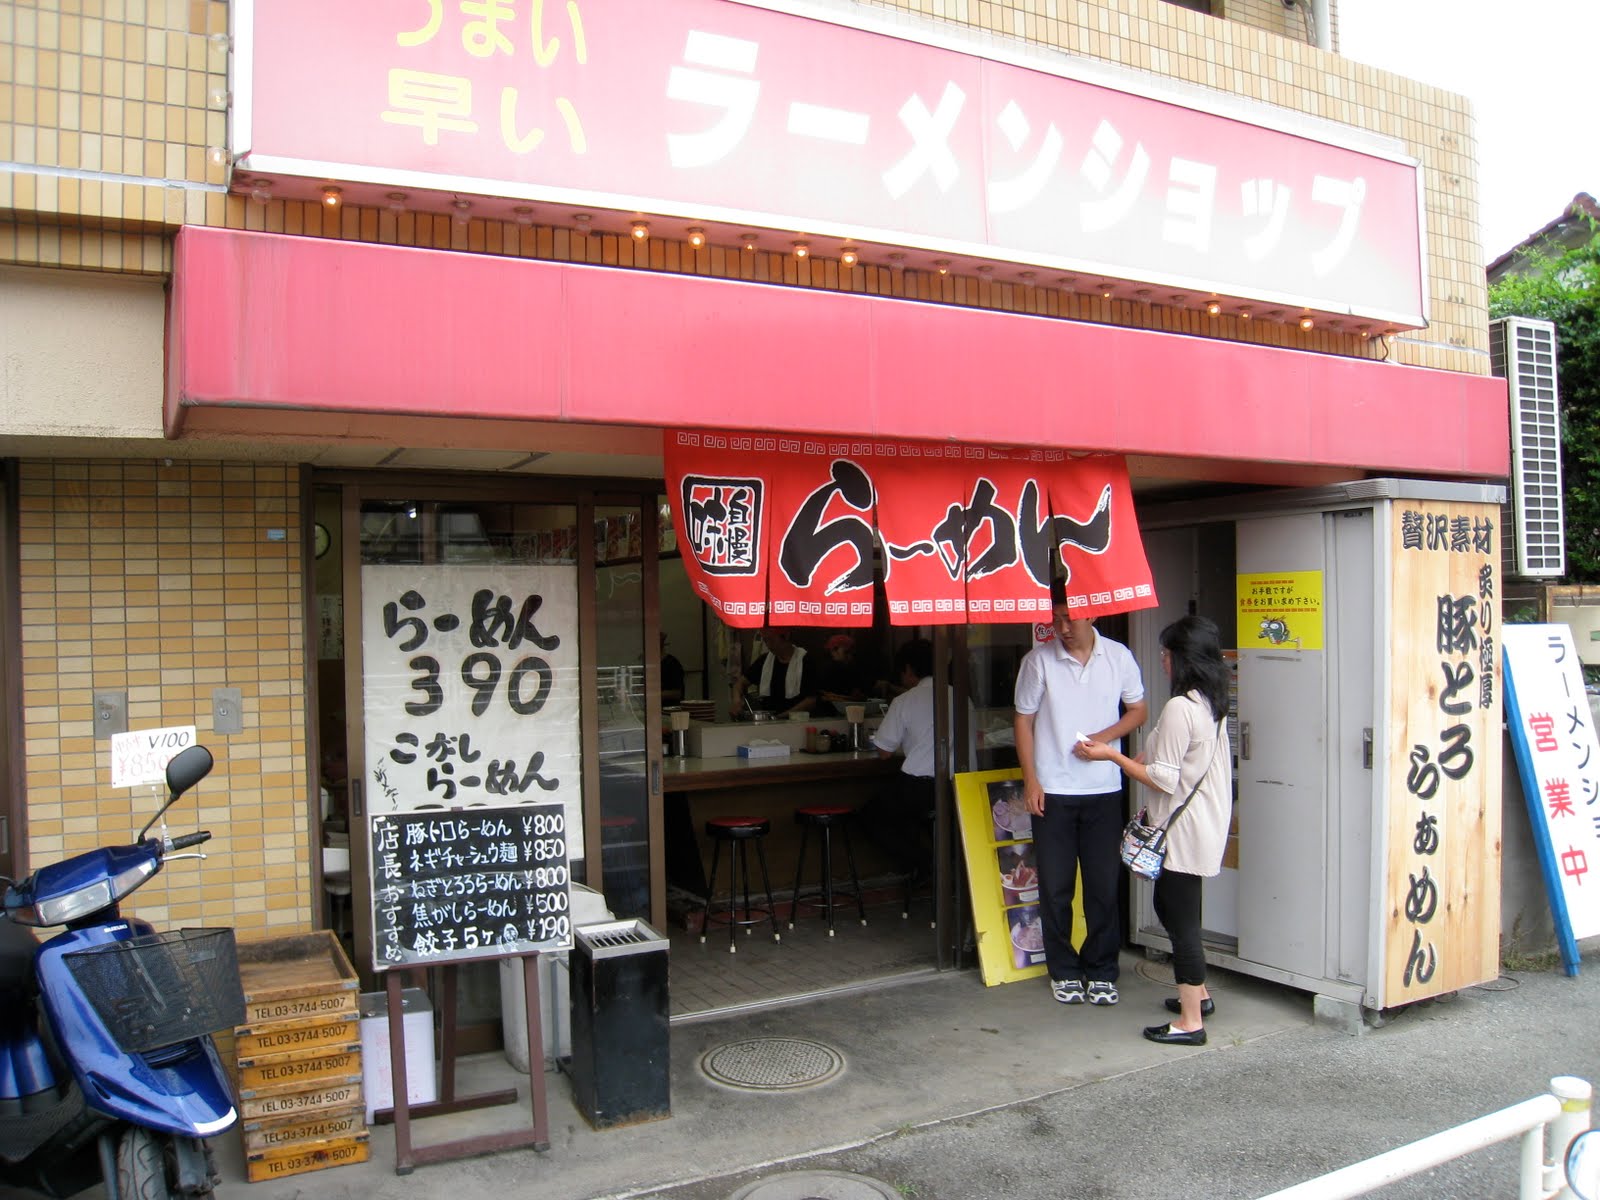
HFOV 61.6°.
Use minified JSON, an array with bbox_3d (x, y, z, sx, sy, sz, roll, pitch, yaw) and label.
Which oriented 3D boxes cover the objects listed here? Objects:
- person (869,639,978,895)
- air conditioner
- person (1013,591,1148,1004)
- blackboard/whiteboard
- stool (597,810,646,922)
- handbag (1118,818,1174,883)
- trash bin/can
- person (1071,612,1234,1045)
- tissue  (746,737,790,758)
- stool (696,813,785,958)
[{"bbox_3d":[0.798,1.348,10.005,0.697,1.964,0.655,0,-1,-30],"label":"person"},{"bbox_3d":[5.366,-1.137,9.847,0.535,1.878,0.317,-2,4,-19],"label":"air conditioner"},{"bbox_3d":[1.742,1.180,8.499,0.729,2.507,0.852,0,0,6],"label":"person"},{"bbox_3d":[-1.602,1.392,6.508,0.848,0.733,0.094,0,-8,-19],"label":"blackboard/whiteboard"},{"bbox_3d":[-0.975,1.613,8.107,0.292,0.555,0.320,-16,-18,15],"label":"stool"},{"bbox_3d":[1.936,1.433,7.665,0.292,0.317,0.215,0,-5,-25],"label":"handbag"},{"bbox_3d":[-0.923,2.155,6.863,0.496,0.862,0.552,-1,5,-11],"label":"trash bin/can"},{"bbox_3d":[2.103,1.317,7.832,0.902,2.409,0.799,4,-5,-22],"label":"person"},{"bbox_3d":[-0.241,1.148,10.338,0.429,0.137,0.175,-5,6,-39],"label":"tissue "},{"bbox_3d":[-0.454,2.080,9.850,0.560,0.877,0.605,-4,-5,26],"label":"stool"}]
